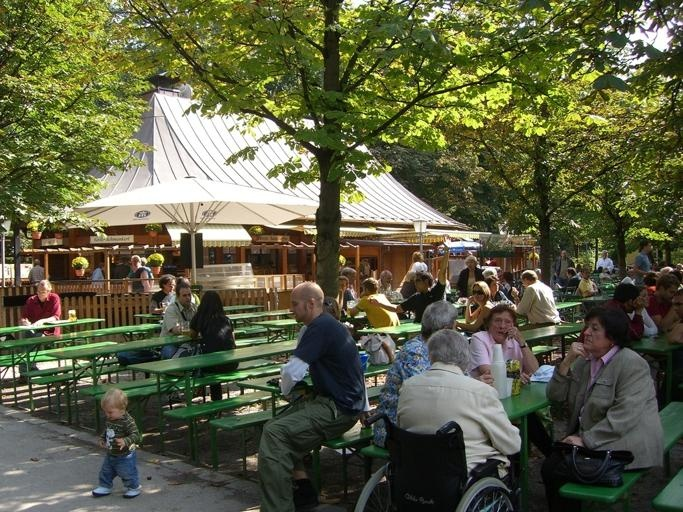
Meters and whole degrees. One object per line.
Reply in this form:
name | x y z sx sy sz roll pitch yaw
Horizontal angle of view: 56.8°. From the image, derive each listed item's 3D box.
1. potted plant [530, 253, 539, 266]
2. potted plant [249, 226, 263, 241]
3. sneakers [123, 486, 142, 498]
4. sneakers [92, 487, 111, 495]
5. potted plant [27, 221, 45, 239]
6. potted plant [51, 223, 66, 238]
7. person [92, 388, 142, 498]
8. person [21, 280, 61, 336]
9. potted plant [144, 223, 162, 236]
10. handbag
potted plant | 13.639 0.245 44.299 0.766 0.880 0.445 2 -5 -29
potted plant | -3.751 -0.990 27.031 0.600 0.543 0.582 1 1 28
sneakers | -2.286 2.530 6.765 0.085 0.059 0.159 -1 -8 32
sneakers | -2.611 2.525 6.808 0.215 0.082 0.076 4 -3 -26
potted plant | -10.442 -0.866 21.294 0.622 0.562 0.591 -1 -9 14
potted plant | -9.564 -0.855 21.062 0.546 0.500 0.521 -3 -2 31
person | -2.510 2.031 6.950 0.509 1.124 0.487 0 -6 -17
person | -6.030 1.270 12.452 0.772 1.474 0.889 1 17 -18
potted plant | -7.470 -1.032 24.639 0.574 0.470 0.554 4 -1 -20
handbag | 2.232 1.820 5.561 0.668 0.289 0.431 -4 -6 24
